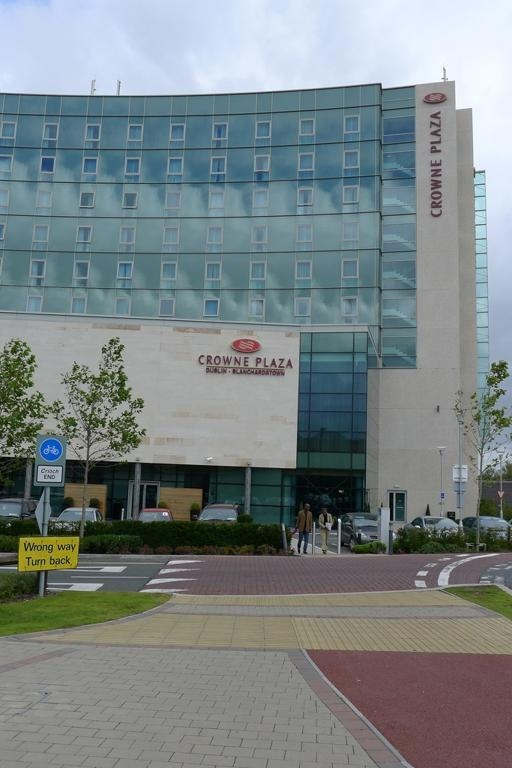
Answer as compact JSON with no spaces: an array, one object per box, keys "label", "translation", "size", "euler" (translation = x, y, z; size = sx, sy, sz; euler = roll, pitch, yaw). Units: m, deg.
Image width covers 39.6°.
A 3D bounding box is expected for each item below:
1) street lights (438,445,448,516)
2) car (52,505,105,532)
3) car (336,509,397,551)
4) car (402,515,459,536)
[{"label":"street lights","translation":[12.652,6.507,48.538],"size":[0.505,4.622,0.764],"euler":[-1,-11,14]},{"label":"car","translation":[-6.330,4.636,24.586],"size":[0.891,0.639,1.811],"euler":[-2,-13,0]},{"label":"car","translation":[3.945,5.673,27.334],"size":[1.347,1.334,3.847],"euler":[1,-9,6]},{"label":"car","translation":[7.184,5.505,27.945],"size":[0.984,0.662,2.023],"euler":[0,-15,-6]}]
